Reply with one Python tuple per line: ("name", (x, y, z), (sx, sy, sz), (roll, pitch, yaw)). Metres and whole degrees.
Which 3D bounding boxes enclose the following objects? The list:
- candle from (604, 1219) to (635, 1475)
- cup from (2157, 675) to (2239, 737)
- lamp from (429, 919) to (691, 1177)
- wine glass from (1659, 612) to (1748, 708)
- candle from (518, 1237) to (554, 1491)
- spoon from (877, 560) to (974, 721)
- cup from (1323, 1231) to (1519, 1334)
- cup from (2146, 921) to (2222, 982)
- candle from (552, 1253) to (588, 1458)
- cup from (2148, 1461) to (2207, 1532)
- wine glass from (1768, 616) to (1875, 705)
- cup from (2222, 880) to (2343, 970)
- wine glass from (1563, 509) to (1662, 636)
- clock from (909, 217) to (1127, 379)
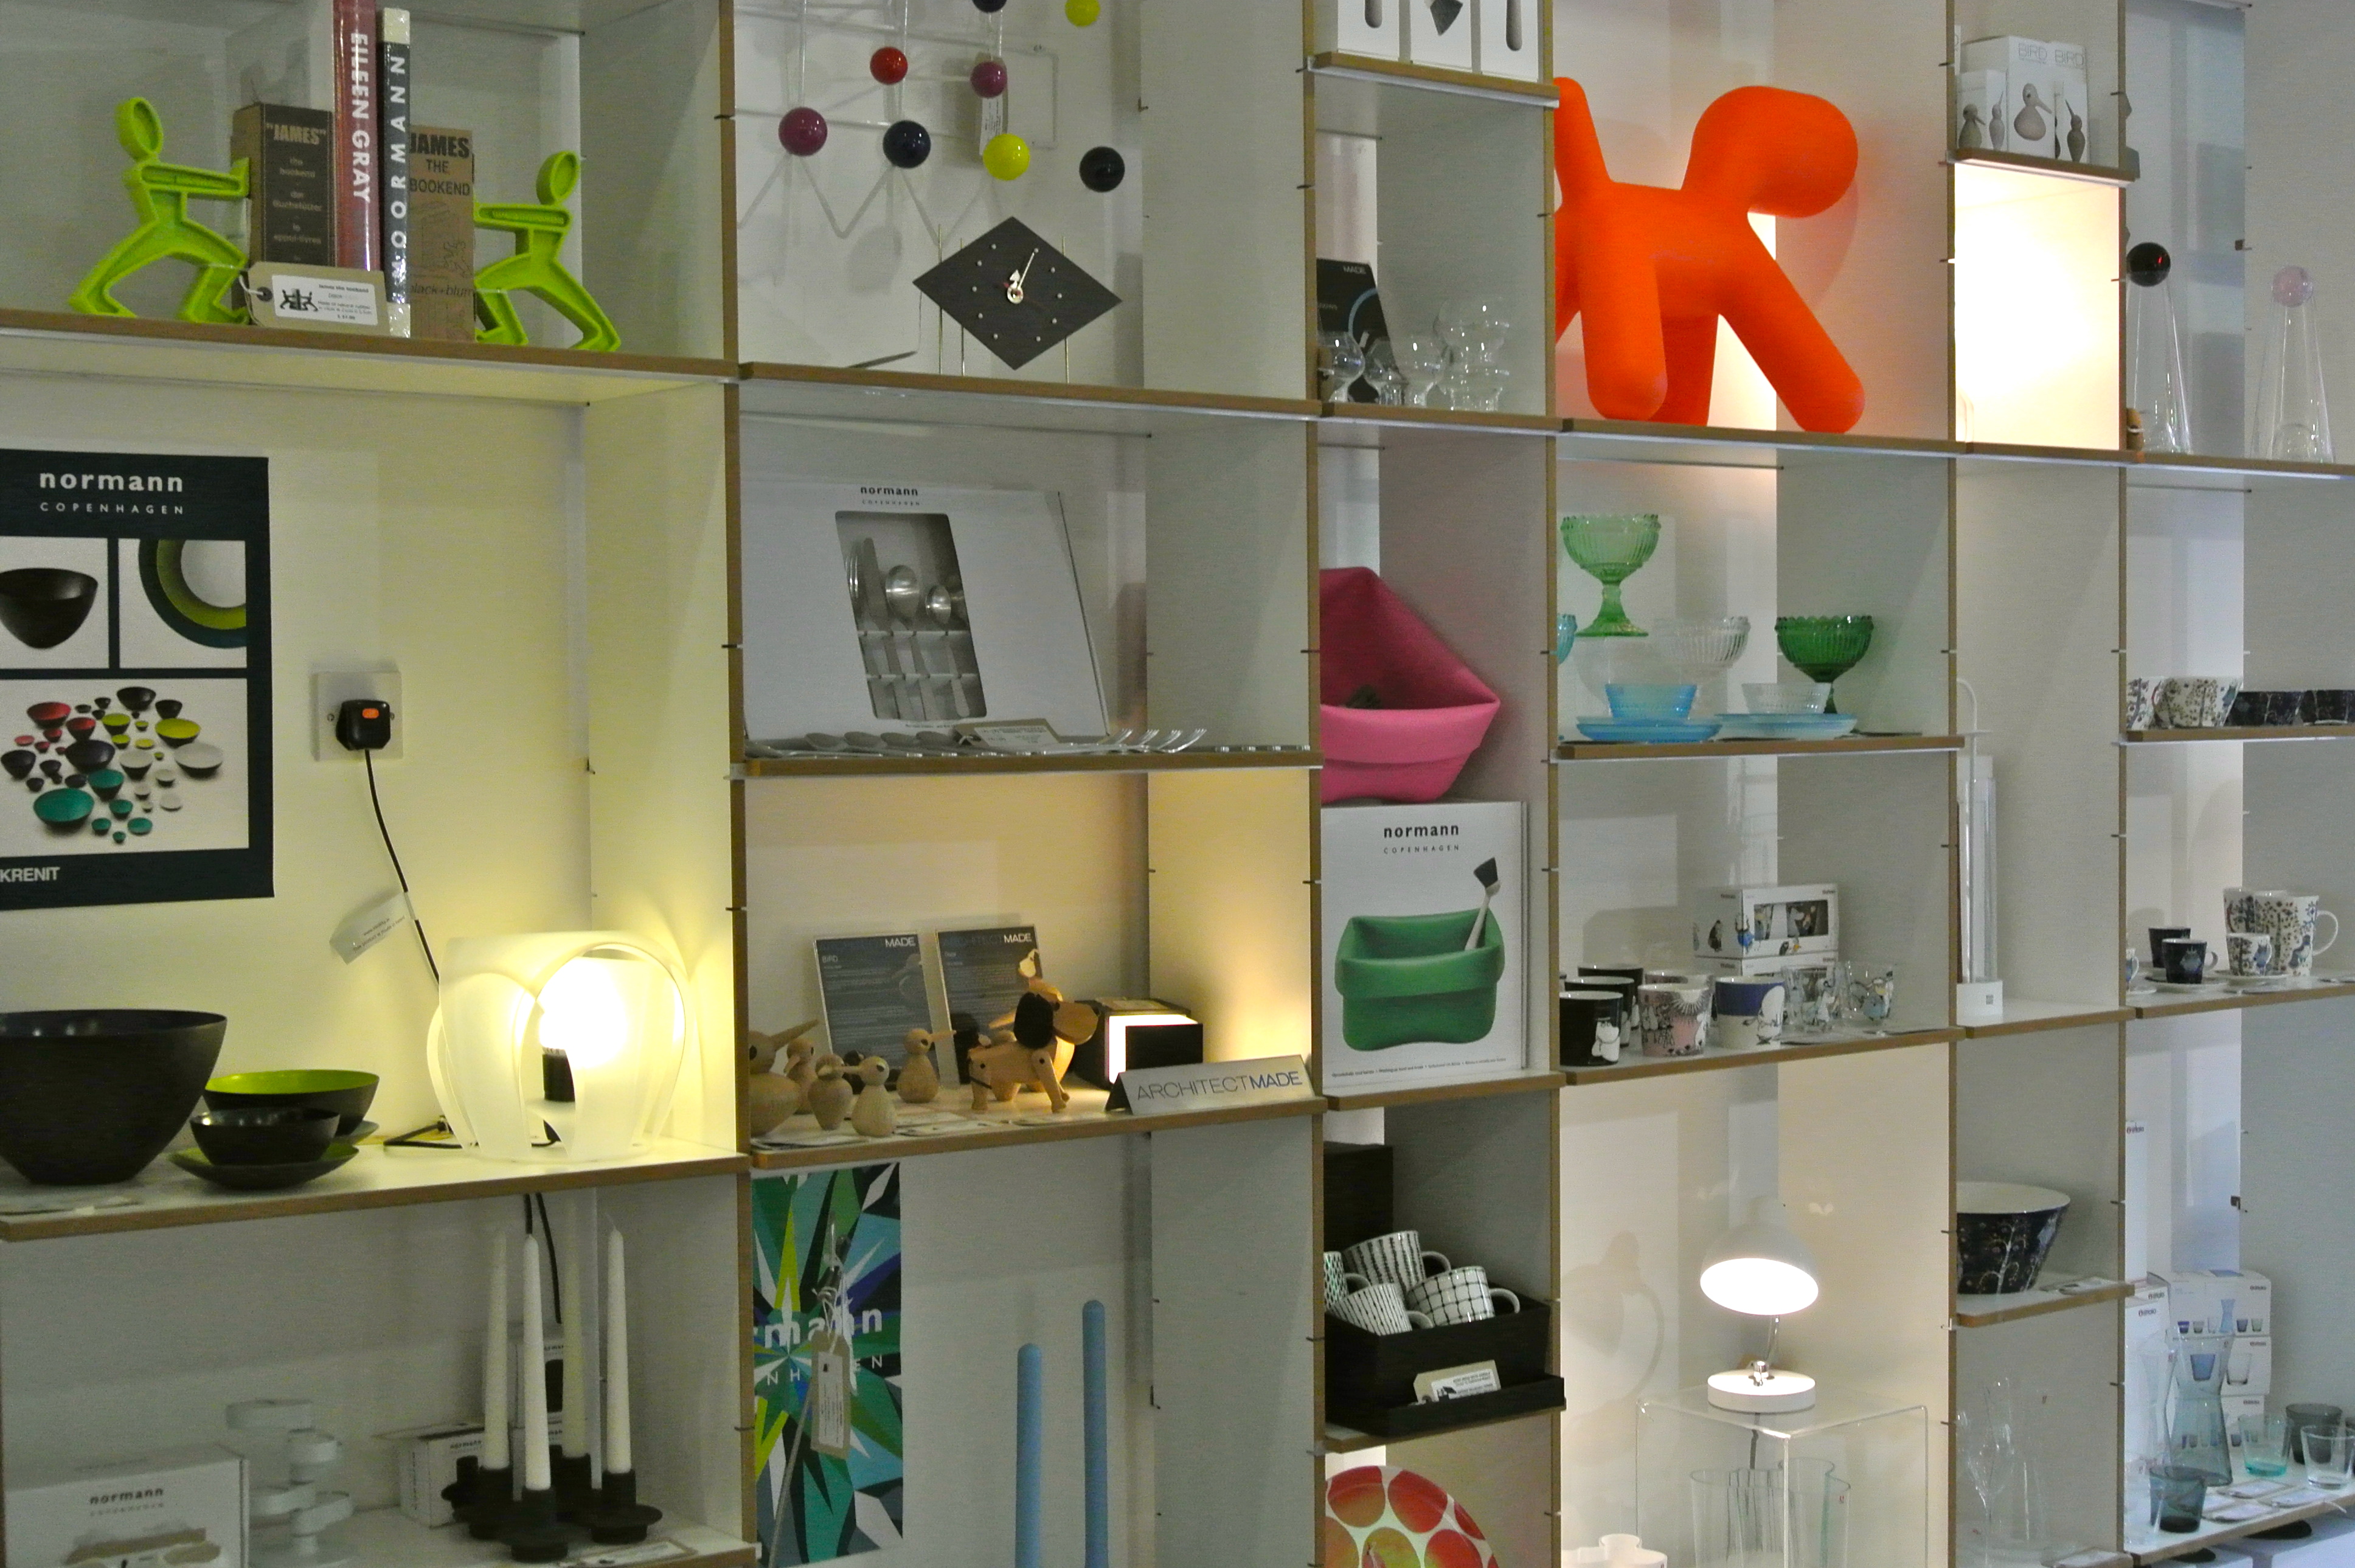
("candle", (-0.853, 0.850, 3.110), (0.049, 0.371, 0.187), (-4, 1, -15))
("cup", (2.111, -0.145, 4.274), (0.137, 0.101, 0.125), (1, -1, 0))
("lamp", (-0.892, 0.385, 3.055), (0.335, 0.312, 0.313), (-3, -6, 36))
("wine glass", (1.000, -0.229, 3.870), (0.183, 0.203, 0.184), (-1, 0, -17))
("candle", (-0.977, 0.845, 3.107), (0.054, 0.372, 0.299), (-4, 1, -18))
("spoon", (-0.406, -0.227, 3.370), (0.150, 0.246, 0.064), (-4, 1, -14))
("cup", (0.411, 0.867, 3.532), (0.257, 0.182, 0.167), (5, -21, -12))
("cup", (2.128, 0.371, 4.397), (0.121, 0.101, 0.133), (3, 4, 31))
("candle", (-0.937, 0.874, 3.170), (0.047, 0.299, 0.211), (-4, 1, -17))
("cup", (2.072, 1.474, 4.276), (0.129, 0.118, 0.110), (5, -6, -16))
("wine glass", (1.217, -0.226, 3.905), (0.141, 0.164, 0.144), (-1, -1, 1))
("cup", (2.408, 0.317, 4.450), (0.302, 0.228, 0.197), (0, -3, 3))
("wine glass", (0.795, -0.380, 3.797), (0.213, 0.237, 0.211), (-6, 8, -35))
("clock", (-0.268, -0.786, 3.367), (0.317, 0.226, 0.049), (-4, 1, -15))
